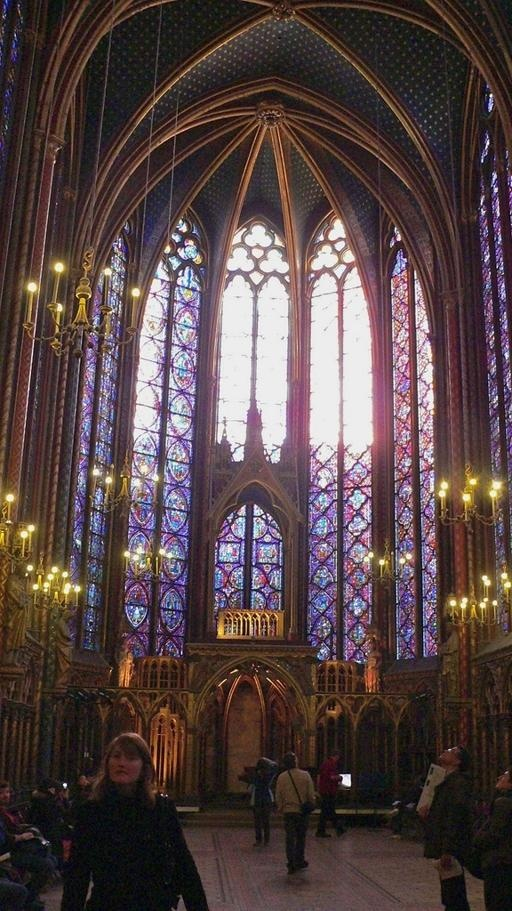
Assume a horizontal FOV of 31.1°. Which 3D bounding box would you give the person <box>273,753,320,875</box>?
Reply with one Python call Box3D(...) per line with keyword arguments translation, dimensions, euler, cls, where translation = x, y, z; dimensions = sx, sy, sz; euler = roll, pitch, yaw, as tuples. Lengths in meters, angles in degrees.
Box3D(translation=(0.349, 3.217, 8.114), dimensions=(0.326, 0.845, 0.443), euler=(4, -17, -13), cls="person")
